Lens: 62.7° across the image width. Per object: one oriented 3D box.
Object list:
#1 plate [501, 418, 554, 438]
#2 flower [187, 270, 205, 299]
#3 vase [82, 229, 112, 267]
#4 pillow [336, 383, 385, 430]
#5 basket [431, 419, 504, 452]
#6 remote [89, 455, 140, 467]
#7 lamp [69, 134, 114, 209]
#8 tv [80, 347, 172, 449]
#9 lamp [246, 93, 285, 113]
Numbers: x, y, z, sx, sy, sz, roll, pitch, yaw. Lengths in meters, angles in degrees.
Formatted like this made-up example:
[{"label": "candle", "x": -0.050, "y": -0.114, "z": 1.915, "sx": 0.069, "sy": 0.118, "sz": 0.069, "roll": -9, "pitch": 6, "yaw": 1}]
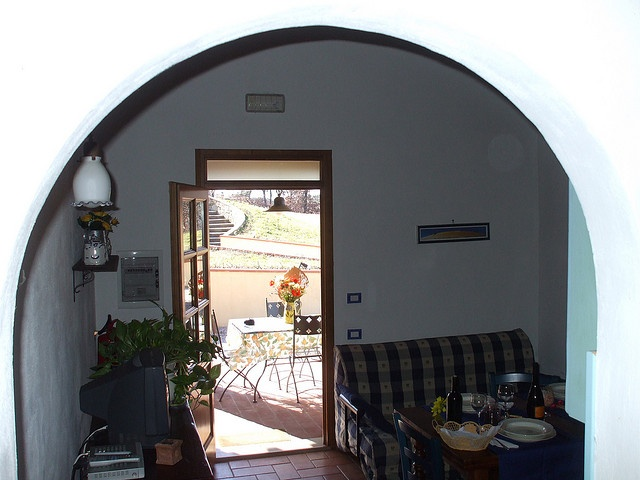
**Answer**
[{"label": "plate", "x": 1.211, "y": 1.088, "z": 3.057, "sx": 0.151, "sy": 0.023, "sz": 0.163, "roll": -2, "pitch": 7, "yaw": 20}, {"label": "flower", "x": -0.966, "y": 0.367, "z": 4.157, "sx": 0.153, "sy": 0.153, "sz": 0.151, "roll": 0, "pitch": -1, "yaw": -10}, {"label": "vase", "x": -1.338, "y": 0.049, "z": 3.126, "sx": 0.128, "sy": 0.207, "sz": 0.199, "roll": -2, "pitch": 6, "yaw": -25}, {"label": "pillow", "x": 0.273, "y": 1.238, "z": 3.926, "sx": 0.235, "sy": 0.199, "sz": 0.534, "roll": -3, "pitch": 6, "yaw": -31}, {"label": "basket", "x": 0.815, "y": 1.064, "z": 2.949, "sx": 0.316, "sy": 0.155, "sz": 0.308, "roll": 0, "pitch": 5, "yaw": 5}, {"label": "remote", "x": -0.881, "y": 0.953, "z": 2.262, "sx": 0.208, "sy": 0.025, "sz": 0.039, "roll": -2, "pitch": 6, "yaw": -17}, {"label": "lamp", "x": -1.025, "y": -0.256, "z": 2.358, "sx": 0.156, "sy": 0.238, "sz": 0.138, "roll": -1, "pitch": 5, "yaw": -10}, {"label": "tv", "x": -0.920, "y": 0.699, "z": 2.553, "sx": 0.376, "sy": 0.444, "sz": 0.418, "roll": 1, "pitch": 3, "yaw": -15}, {"label": "lamp", "x": -0.439, "y": -1.097, "z": 4.254, "sx": 0.330, "sy": 0.151, "sz": 0.040, "roll": -1, "pitch": 5, "yaw": -10}]
